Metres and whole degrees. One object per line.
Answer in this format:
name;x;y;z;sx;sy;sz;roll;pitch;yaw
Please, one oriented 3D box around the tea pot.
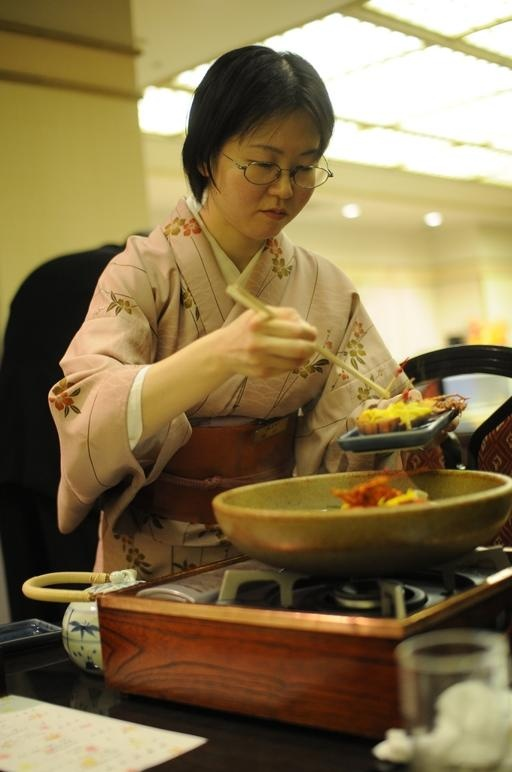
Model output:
tea pot;-0.235;0.288;0.866;0.144;0.096;0.138;-3;-2;0
